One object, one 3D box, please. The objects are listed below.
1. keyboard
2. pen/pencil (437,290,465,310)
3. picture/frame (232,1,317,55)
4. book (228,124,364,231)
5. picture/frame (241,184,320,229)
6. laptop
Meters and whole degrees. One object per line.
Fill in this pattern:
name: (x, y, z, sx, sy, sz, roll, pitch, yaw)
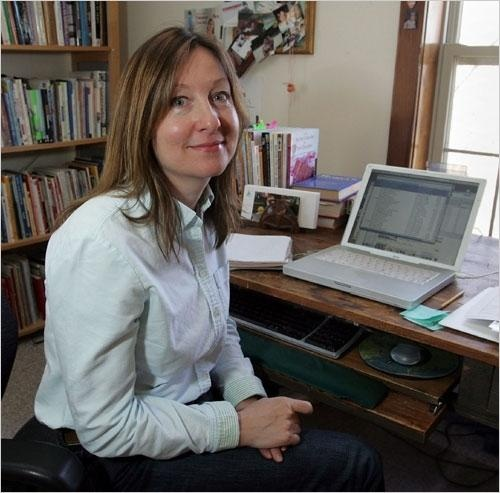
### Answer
keyboard: (0.108, 0.229, 1.295, 0.477, 0.047, 0.191, 12, 28, 37)
pen/pencil: (0.516, 0.137, 1.045, 0.014, 0.012, 0.138, 23, 26, 39)
picture/frame: (0.142, -1.107, 2.064, 0.338, 0.287, 0.024, 18, 26, 26)
book: (0.186, -0.289, 1.704, 0.554, 0.282, 0.508, 7, 25, 17)
picture/frame: (0.113, -0.153, 1.613, 0.314, 0.133, 0.035, 11, 13, 28)
laptop: (0.389, -0.048, 1.190, 0.431, 0.245, 0.390, -23, 28, -38)
